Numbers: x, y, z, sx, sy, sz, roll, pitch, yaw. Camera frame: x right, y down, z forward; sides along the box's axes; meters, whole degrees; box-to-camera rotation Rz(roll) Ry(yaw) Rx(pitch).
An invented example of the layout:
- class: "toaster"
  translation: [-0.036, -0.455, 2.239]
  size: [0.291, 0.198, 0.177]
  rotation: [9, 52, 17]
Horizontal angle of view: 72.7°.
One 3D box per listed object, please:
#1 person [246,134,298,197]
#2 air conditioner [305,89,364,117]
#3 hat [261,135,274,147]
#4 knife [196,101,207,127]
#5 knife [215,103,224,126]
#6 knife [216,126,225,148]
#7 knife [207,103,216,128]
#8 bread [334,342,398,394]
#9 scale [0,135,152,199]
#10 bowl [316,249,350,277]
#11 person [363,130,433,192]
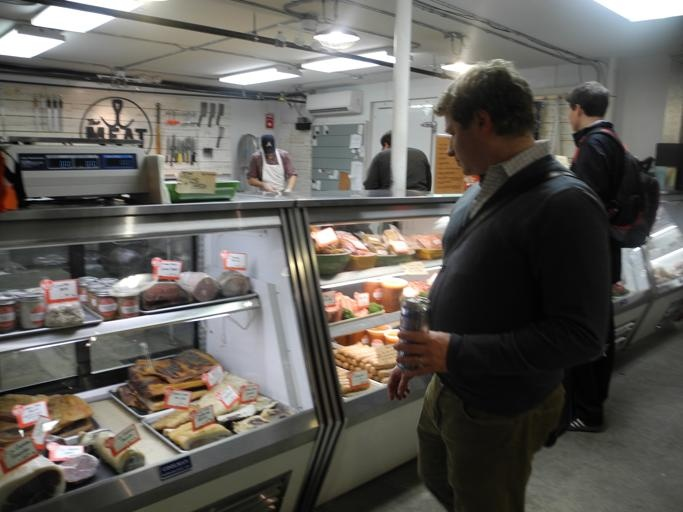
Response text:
- class: "person"
  translation: [-1.118, -1.365, 7.538]
  size: [0.896, 0.971, 0.644]
  rotation: [-5, 28, -13]
- class: "air conditioner"
  translation: [-0.132, -3.418, 10.536]
  size: [1.340, 0.528, 0.443]
  rotation: [9, 16, 44]
- class: "hat"
  translation: [-1.164, -1.811, 7.392]
  size: [0.196, 0.184, 0.197]
  rotation: [-4, 12, -11]
- class: "knife"
  translation: [-3.178, -3.251, 10.717]
  size: [0.180, 0.523, 0.287]
  rotation: [5, 15, 28]
- class: "knife"
  translation: [-2.885, -3.332, 11.028]
  size: [0.148, 0.503, 0.275]
  rotation: [3, 14, 20]
- class: "knife"
  translation: [-2.895, -2.827, 11.150]
  size: [0.077, 0.519, 0.324]
  rotation: [7, 15, 33]
- class: "knife"
  translation: [-3.023, -3.268, 10.876]
  size: [0.154, 0.523, 0.191]
  rotation: [6, 15, 29]
- class: "bread"
  translation: [0.157, 0.650, 2.868]
  size: [0.500, 0.099, 0.346]
  rotation: [-4, 9, -36]
- class: "scale"
  translation: [-1.105, -0.362, 1.949]
  size: [0.516, 0.261, 0.274]
  rotation: [-7, 13, -29]
- class: "bowl"
  translation: [-0.057, 0.044, 2.659]
  size: [0.194, 0.084, 0.166]
  rotation: [-3, 5, -19]
- class: "person"
  translation: [0.679, -0.967, 5.193]
  size: [0.893, 0.469, 0.444]
  rotation: [-8, 15, -23]
